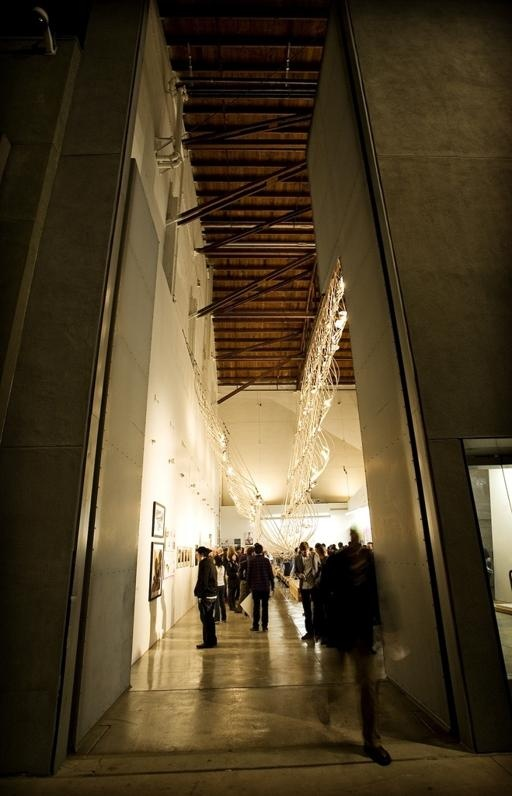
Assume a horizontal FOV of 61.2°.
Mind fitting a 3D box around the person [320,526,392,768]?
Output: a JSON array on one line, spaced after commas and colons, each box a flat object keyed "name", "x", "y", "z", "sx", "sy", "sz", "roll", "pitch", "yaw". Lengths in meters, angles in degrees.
[{"name": "person", "x": 0.458, "y": 1.128, "z": 2.072, "sx": 0.277, "sy": 0.960, "sz": 0.328, "roll": -5, "pitch": -14, "yaw": 16}]

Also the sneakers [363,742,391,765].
[{"name": "sneakers", "x": 0.520, "y": 1.502, "z": 1.832, "sx": 0.041, "sy": 0.059, "sz": 0.121, "roll": 5, "pitch": -28, "yaw": -15}]
